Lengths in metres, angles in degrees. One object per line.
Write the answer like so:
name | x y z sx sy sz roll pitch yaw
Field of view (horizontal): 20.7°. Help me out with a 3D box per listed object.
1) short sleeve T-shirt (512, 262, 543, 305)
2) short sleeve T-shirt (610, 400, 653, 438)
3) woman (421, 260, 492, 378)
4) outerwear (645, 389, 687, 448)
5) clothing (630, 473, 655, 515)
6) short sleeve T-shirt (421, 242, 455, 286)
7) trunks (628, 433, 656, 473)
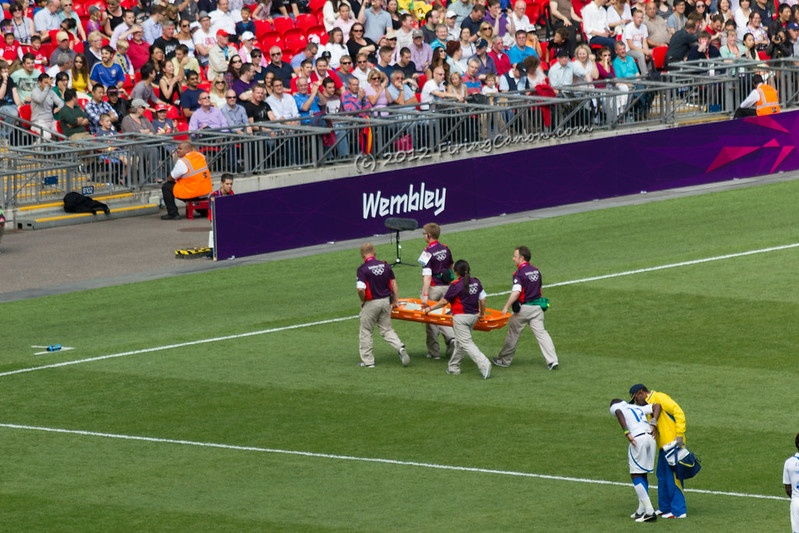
short sleeve T-shirt | 2.493 0.326 43.157 0.664 0.589 0.354 -17 26 -29
short sleeve T-shirt | 4.107 2.666 38.743 0.450 0.255 0.716 -21 39 -34
woman | 1.072 1.081 43.449 1.198 2.354 1.600 -22 35 -31
outerwear | 4.681 2.698 38.823 0.534 0.872 0.883 -14 -10 -17
clothing | 4.297 3.930 38.814 0.392 0.715 0.648 -2 8 6
short sleeve T-shirt | 0.745 -0.048 43.838 0.785 0.713 0.387 -12 23 -22
trunks | 4.268 3.261 38.596 0.471 0.699 0.300 -2 8 2
